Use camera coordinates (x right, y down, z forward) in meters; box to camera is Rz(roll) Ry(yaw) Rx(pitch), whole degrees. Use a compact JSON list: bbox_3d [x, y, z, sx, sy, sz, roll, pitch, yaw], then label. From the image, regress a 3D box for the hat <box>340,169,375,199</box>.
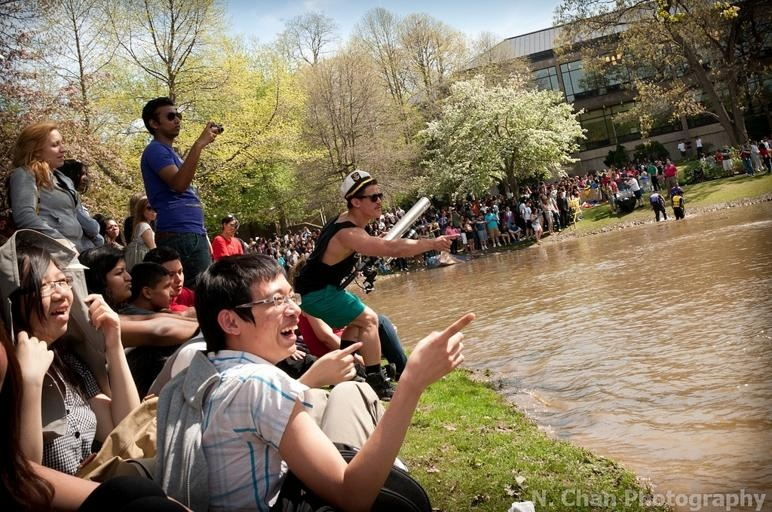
[{"bbox_3d":[-0.441,-0.961,5.932,0.447,0.174,0.352,-36,-3,11],"label":"hat"}]
